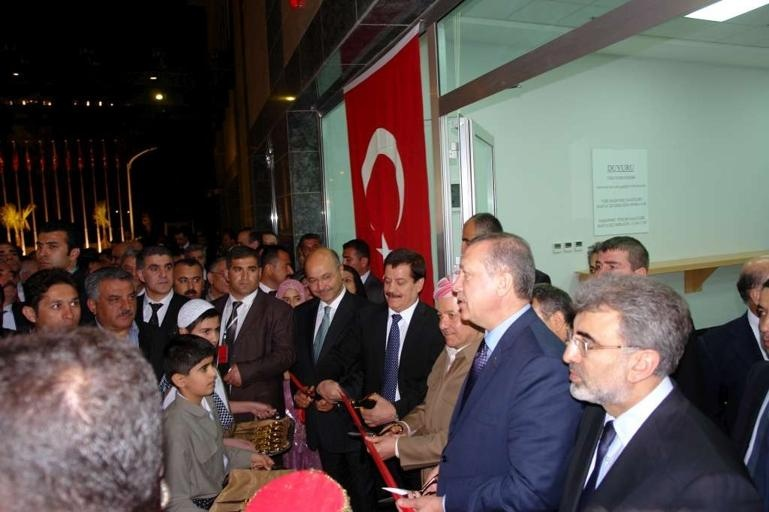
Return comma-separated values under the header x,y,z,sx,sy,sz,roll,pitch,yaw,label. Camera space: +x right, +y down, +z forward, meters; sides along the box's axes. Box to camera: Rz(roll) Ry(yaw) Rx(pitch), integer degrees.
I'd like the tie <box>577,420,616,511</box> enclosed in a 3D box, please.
x,y,z,sx,sy,sz,roll,pitch,yaw,label
1.045,1.043,2.807,0.076,0.458,0.054,23,-2,-21,tie
